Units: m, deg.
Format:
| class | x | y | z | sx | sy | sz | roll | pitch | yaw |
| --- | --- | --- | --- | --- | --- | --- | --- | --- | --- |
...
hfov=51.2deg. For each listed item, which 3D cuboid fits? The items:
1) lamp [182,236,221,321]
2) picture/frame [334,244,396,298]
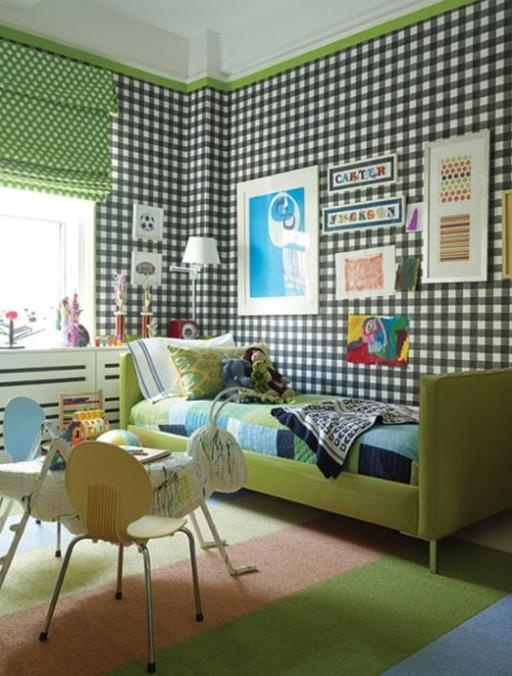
| class | x | y | z | sx | sy | sz | roll | pitch | yaw |
| --- | --- | --- | --- | --- | --- | --- | --- | --- | --- |
| lamp | -0.428 | -0.481 | 4.264 | 0.280 | 0.655 | 0.542 | 1 | -3 | -5 |
| picture/frame | 0.706 | -0.429 | 3.408 | 0.009 | 0.266 | 0.372 | -3 | 4 | -41 |
